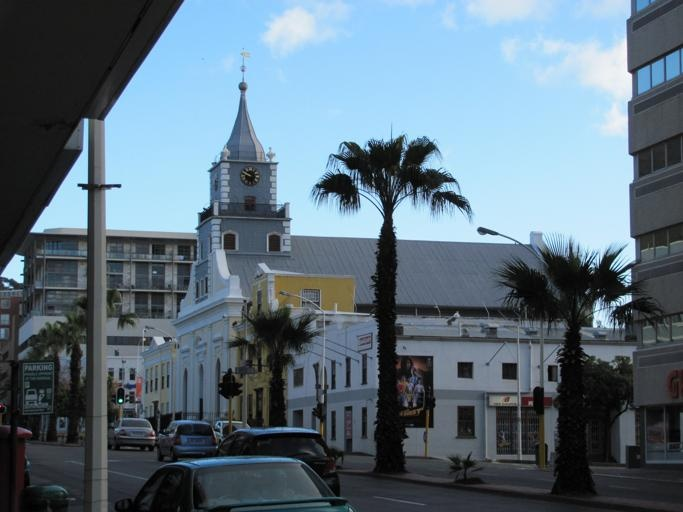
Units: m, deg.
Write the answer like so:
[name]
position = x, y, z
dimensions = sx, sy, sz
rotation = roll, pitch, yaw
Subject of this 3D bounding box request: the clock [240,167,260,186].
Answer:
[clock]
position = -7.701, -6.796, 96.982
dimensions = 1.036, 1.087, 0.125
rotation = -37, 2, -7
